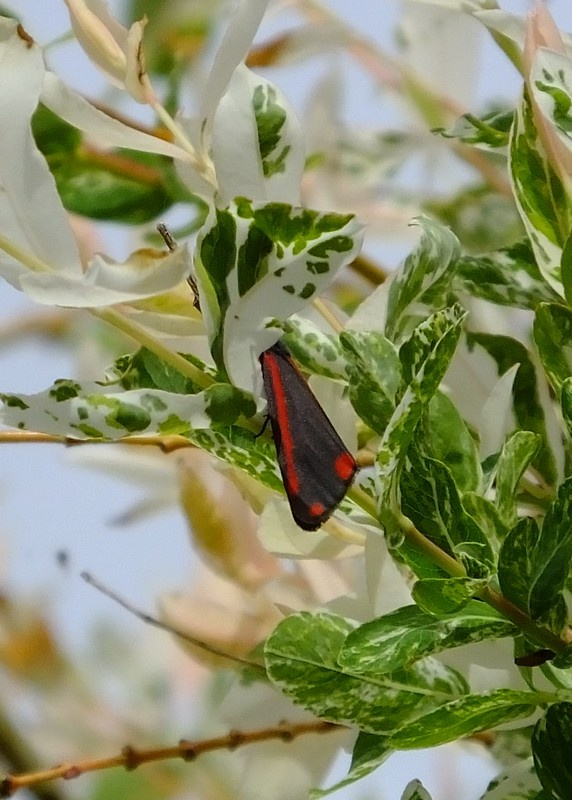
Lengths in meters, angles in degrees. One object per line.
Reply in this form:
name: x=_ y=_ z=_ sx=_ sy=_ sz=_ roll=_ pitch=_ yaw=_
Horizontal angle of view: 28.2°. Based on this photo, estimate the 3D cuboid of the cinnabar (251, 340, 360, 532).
cinnabar: x=0.005 y=0.010 z=0.340 sx=0.024 sy=0.058 sz=0.016 roll=1 pitch=-33 yaw=-21
